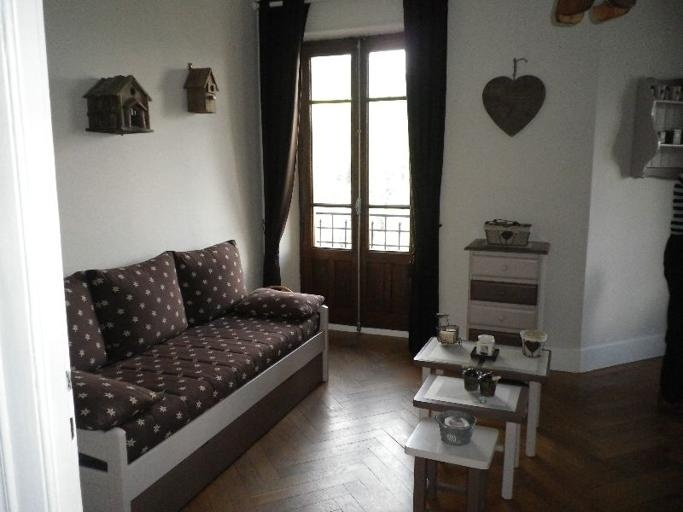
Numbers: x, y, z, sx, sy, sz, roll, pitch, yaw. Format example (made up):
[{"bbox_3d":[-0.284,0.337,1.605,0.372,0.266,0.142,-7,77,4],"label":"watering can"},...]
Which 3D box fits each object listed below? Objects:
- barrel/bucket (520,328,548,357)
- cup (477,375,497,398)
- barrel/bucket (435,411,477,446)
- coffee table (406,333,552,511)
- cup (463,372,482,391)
[{"bbox_3d":[1.145,0.502,3.282,0.140,0.127,0.150,0,5,0],"label":"barrel/bucket"},{"bbox_3d":[0.761,0.673,2.867,0.086,0.118,0.083,-1,14,0],"label":"cup"},{"bbox_3d":[0.557,0.839,2.701,0.194,0.127,0.184,-1,8,0],"label":"barrel/bucket"},{"bbox_3d":[0.765,0.847,3.121,0.668,0.545,0.811,4,11,26],"label":"coffee table"},{"bbox_3d":[0.690,0.663,2.923,0.095,0.103,0.090,-3,9,0],"label":"cup"}]
